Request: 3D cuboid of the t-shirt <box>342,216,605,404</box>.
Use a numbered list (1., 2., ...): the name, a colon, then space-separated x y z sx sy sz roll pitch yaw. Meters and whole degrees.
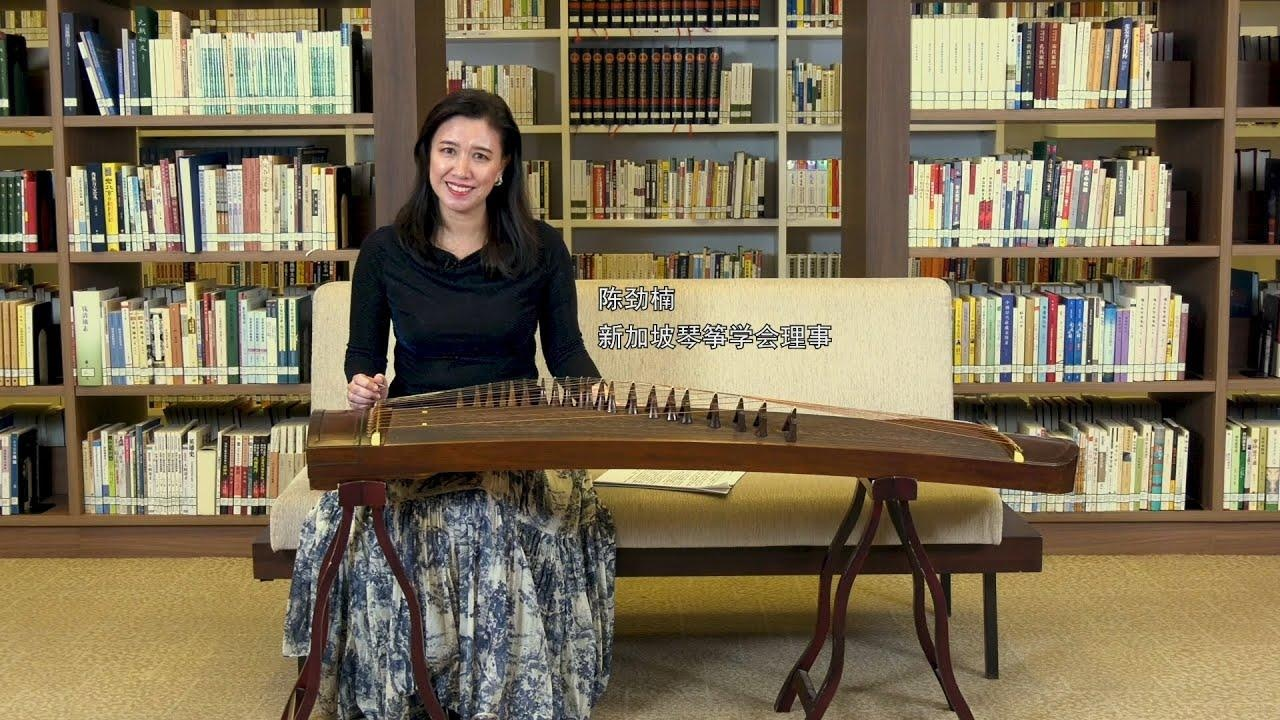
1. t-shirt: -0.672 -0.098 5.329 0.974 0.826 0.573 -4 17 -11
